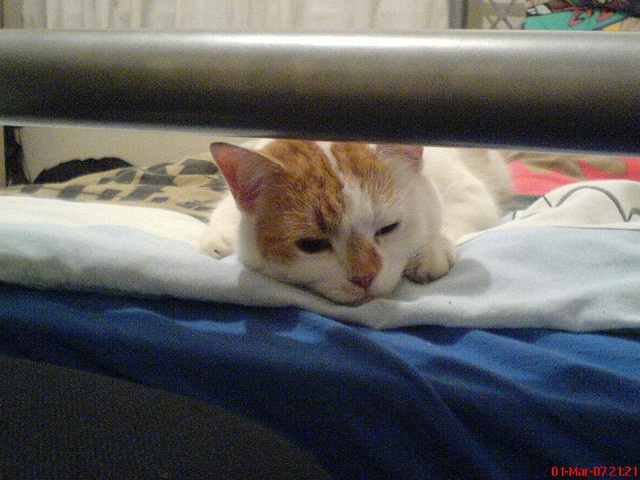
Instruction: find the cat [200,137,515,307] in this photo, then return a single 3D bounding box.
[{"bbox_3d":[0.019,-0.101,1.020,0.473,0.215,0.634,-1,17,7],"label":"cat"}]
